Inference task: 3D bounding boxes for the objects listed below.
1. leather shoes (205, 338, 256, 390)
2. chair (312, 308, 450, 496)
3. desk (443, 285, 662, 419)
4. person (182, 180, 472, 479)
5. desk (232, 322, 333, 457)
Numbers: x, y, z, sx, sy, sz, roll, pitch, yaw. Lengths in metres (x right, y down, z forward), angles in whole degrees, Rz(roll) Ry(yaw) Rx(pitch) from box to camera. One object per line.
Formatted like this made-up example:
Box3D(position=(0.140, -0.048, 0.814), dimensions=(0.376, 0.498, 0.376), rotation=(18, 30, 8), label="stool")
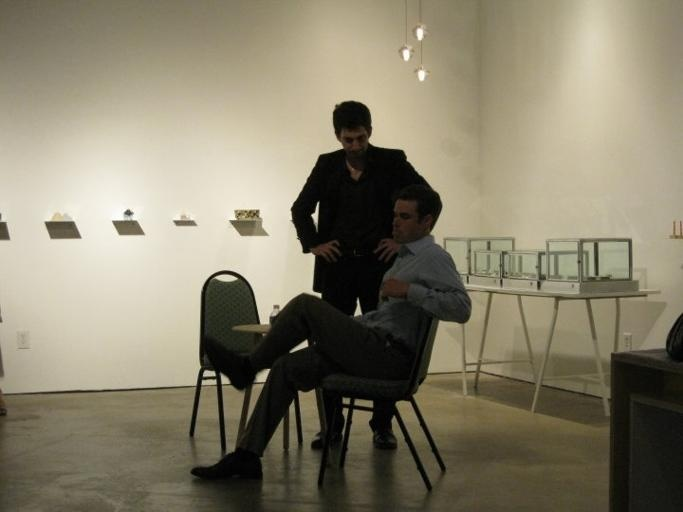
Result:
Box3D(position=(-0.611, 0.576, 3.125), dimensions=(0.281, 0.323, 0.180), rotation=(-1, 2, -26), label="leather shoes")
Box3D(position=(0.239, 0.863, 3.648), dimensions=(0.857, 1.371, 0.842), rotation=(2, -8, 1), label="chair")
Box3D(position=(1.739, 0.771, 5.214), dimensions=(1.101, 1.039, 1.848), rotation=(-1, 2, -18), label="desk")
Box3D(position=(-0.031, 0.438, 3.383), dimensions=(1.366, 1.855, 0.819), rotation=(8, -13, 5), label="person")
Box3D(position=(-0.427, 0.884, 3.921), dimensions=(0.783, 0.936, 0.783), rotation=(1, -7, -16), label="desk")
